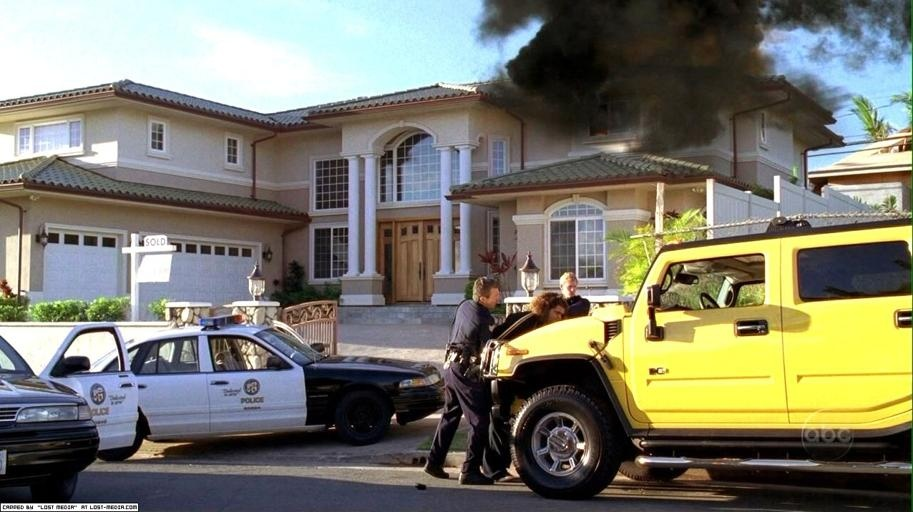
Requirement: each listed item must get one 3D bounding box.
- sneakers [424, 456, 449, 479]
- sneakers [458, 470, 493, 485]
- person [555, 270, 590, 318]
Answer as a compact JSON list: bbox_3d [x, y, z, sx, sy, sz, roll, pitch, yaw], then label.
[{"bbox_3d":[-0.364,3.582,15.336,0.602,0.255,0.217,23,-7,-36],"label":"sneakers"},{"bbox_3d":[0.309,3.717,15.276,0.628,0.238,0.201,1,-7,-2],"label":"sneakers"},{"bbox_3d":[2.317,0.776,16.792,0.594,0.692,0.843,-2,-10,-7],"label":"person"}]
